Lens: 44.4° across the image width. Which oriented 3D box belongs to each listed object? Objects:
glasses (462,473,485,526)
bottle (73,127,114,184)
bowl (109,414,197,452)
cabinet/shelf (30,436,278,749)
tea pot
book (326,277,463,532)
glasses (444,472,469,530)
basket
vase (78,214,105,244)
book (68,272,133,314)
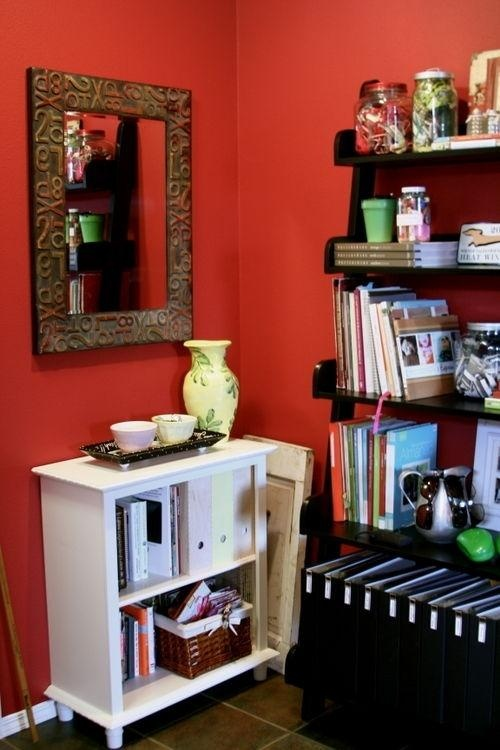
[{"bbox_3d":[0.544,0.312,1.543,0.080,0.129,0.082,-2,4,11],"label":"glasses"},{"bbox_3d":[-0.453,-0.622,1.750,0.023,0.171,0.128,-5,-6,42],"label":"bottle"},{"bbox_3d":[-0.272,0.144,1.748,0.180,0.076,0.115,-4,1,-36],"label":"bowl"},{"bbox_3d":[-0.301,0.625,1.745,0.350,0.813,0.665,7,11,41],"label":"cabinet/shelf"},{"bbox_3d":[0.449,0.321,1.576,0.187,0.214,0.148,-3,3,4],"label":"tea pot"},{"bbox_3d":[0.403,0.072,1.672,0.325,0.683,0.309,0,-5,-22],"label":"book"},{"bbox_3d":[0.497,0.307,1.475,0.037,0.119,0.082,1,3,10],"label":"glasses"},{"bbox_3d":[-0.173,0.818,1.884,0.152,0.121,0.210,-2,2,41],"label":"basket"},{"bbox_3d":[-0.461,-0.420,1.761,0.044,0.078,0.077,6,10,36],"label":"vase"},{"bbox_3d":[-0.441,-0.249,1.820,0.206,0.161,0.111,-7,8,-45],"label":"book"}]
